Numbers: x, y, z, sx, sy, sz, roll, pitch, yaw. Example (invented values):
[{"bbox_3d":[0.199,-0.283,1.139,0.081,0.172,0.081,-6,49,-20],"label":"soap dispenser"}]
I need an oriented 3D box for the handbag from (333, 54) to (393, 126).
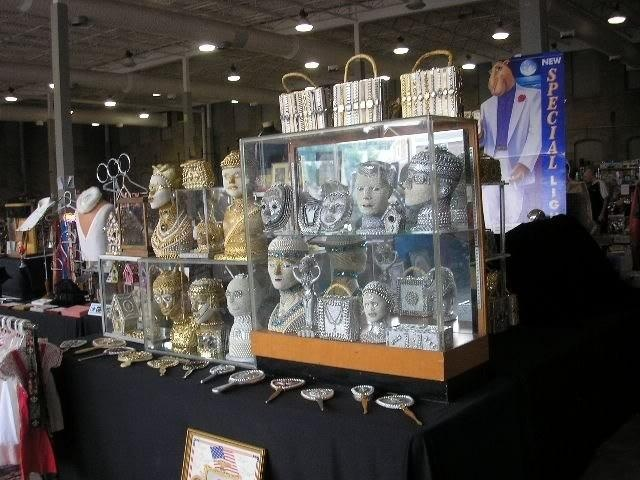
[{"bbox_3d":[0.209,-0.786,3.150,0.273,0.438,0.139,1,-1,26],"label":"handbag"}]

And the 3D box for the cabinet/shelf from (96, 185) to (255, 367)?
[{"bbox_3d":[-0.979,0.119,3.941,1.279,1.239,0.515,3,9,31],"label":"cabinet/shelf"}]

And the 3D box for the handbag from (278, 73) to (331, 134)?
[{"bbox_3d":[-0.095,-0.794,3.321,0.239,0.338,0.170,3,14,42],"label":"handbag"}]

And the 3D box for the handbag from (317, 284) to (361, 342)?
[{"bbox_3d":[0.114,0.365,3.076,0.249,0.301,0.270,-3,4,-2],"label":"handbag"}]

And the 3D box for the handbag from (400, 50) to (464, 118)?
[{"bbox_3d":[0.594,-0.805,3.081,0.289,0.455,0.155,-5,-9,24],"label":"handbag"}]

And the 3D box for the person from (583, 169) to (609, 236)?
[{"bbox_3d":[4.446,-0.682,9.467,0.528,1.148,0.275,-1,38,33],"label":"person"}]

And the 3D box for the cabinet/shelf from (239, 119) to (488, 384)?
[{"bbox_3d":[0.258,0.072,2.996,1.204,1.301,0.441,-1,1,35],"label":"cabinet/shelf"}]
